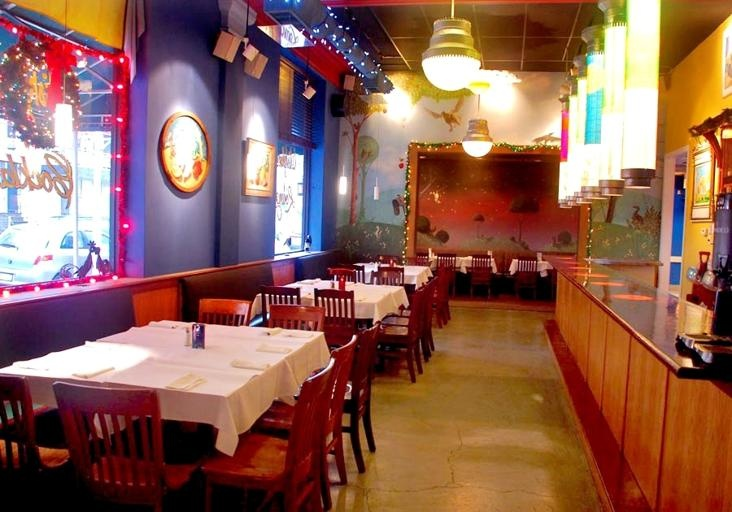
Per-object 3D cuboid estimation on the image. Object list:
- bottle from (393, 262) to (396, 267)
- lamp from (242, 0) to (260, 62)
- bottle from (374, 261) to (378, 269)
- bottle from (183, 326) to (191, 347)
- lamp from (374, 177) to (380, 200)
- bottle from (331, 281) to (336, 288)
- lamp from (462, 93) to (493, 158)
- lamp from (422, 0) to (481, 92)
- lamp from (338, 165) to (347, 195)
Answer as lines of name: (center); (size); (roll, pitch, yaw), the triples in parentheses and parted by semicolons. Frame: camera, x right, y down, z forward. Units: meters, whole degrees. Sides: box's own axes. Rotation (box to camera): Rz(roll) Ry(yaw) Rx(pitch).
bottle: (0.446, 0.125, 8.640); (0.041, 0.081, 0.042); (2, 10, 0)
lamp: (-1.529, -2.973, 7.363); (0.196, 0.750, 0.407); (2, 8, 0)
bottle: (0.192, 0.147, 9.753); (0.071, 0.143, 0.074); (0, 2, 0)
bottle: (-1.364, 0.603, 4.229); (0.052, 0.141, 0.150); (-1, 8, -20)
lamp: (0.229, -1.415, 11.483); (0.137, 0.446, 0.134); (2, 7, 0)
bottle: (-0.400, 0.343, 6.839); (0.065, 0.079, 0.065); (-5, 8, -42)
lamp: (1.743, -2.074, 8.570); (0.473, 1.063, 0.483); (4, -3, -30)
lamp: (0.815, -2.042, 5.250); (0.539, 0.808, 0.373); (3, 8, 7)
lamp: (-0.467, -1.571, 11.369); (0.199, 0.640, 0.455); (1, 8, -3)
